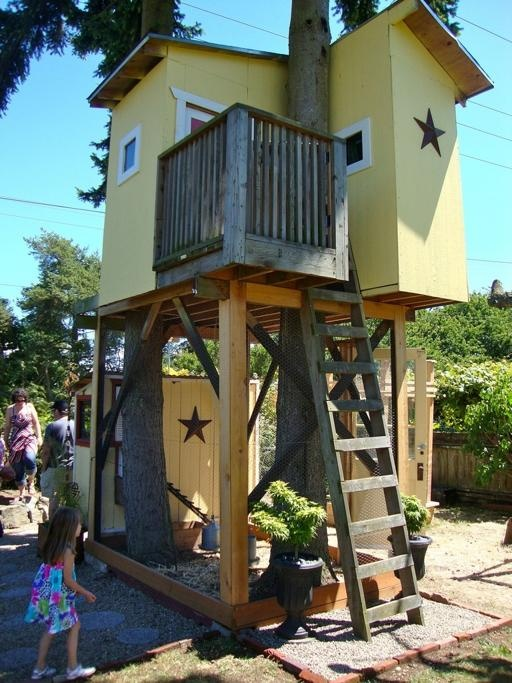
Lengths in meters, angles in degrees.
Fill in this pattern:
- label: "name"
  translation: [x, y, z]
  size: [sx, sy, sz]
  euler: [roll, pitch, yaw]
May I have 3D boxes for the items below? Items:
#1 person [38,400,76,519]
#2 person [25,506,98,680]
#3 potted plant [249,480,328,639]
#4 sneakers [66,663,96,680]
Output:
- label: "person"
  translation: [-2.402, 1.427, 7.046]
  size: [0.366, 1.408, 0.712]
  euler: [2, -5, -20]
- label: "person"
  translation: [-1.172, 1.529, 3.514]
  size: [0.390, 1.020, 0.298]
  euler: [1, -5, -10]
- label: "potted plant"
  translation: [0.245, 1.673, 4.607]
  size: [0.557, 1.150, 1.071]
  euler: [0, -5, 2]
- label: "sneakers"
  translation: [-1.070, 2.000, 3.560]
  size: [0.177, 0.084, 0.070]
  euler: [0, -8, -30]
